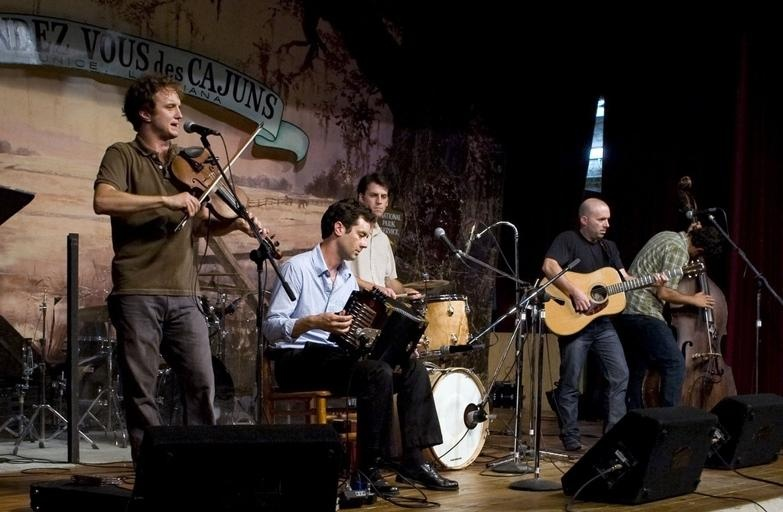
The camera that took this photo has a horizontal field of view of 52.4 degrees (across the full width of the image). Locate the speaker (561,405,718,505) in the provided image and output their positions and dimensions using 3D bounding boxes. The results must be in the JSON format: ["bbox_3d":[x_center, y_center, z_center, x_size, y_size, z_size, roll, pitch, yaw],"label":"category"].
[{"bbox_3d":[1.862,1.524,5.996,1.031,0.461,0.752,14,-21,-41],"label":"speaker"}]

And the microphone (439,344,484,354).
[{"bbox_3d":[0.608,0.820,7.056,0.227,0.054,0.221,7,-16,-29],"label":"microphone"}]

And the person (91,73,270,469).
[{"bbox_3d":[-1.652,0.053,5.682,0.938,2.765,0.522,4,-8,-19],"label":"person"}]

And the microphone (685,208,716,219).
[{"bbox_3d":[3.463,-0.480,8.945,0.279,0.086,0.269,0,-4,4],"label":"microphone"}]

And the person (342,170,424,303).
[{"bbox_3d":[-0.098,-0.100,7.931,0.884,1.400,0.744,3,-2,-14],"label":"person"}]

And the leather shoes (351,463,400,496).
[{"bbox_3d":[-0.164,1.696,5.967,0.468,0.226,0.160,-10,-17,40],"label":"leather shoes"}]

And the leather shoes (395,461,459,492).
[{"bbox_3d":[0.275,1.722,6.288,0.522,0.218,0.188,5,-6,7],"label":"leather shoes"}]

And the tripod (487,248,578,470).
[{"bbox_3d":[1.258,0.989,7.233,0.756,1.876,2.159,0,-8,10],"label":"tripod"}]
